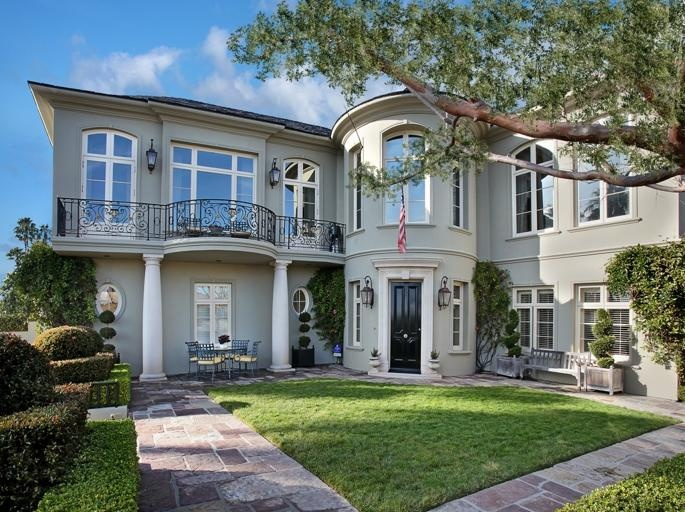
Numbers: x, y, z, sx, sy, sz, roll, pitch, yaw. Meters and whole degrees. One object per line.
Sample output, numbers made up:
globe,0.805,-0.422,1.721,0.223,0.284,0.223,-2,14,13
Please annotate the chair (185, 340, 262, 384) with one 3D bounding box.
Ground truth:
chair,-3.502,2.931,16.496,2.047,1.122,2.446,0,2,-15

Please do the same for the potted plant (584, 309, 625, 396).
potted plant,6.621,2.374,14.364,0.633,2.071,0.919,-1,2,-35

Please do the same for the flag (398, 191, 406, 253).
flag,1.712,-1.022,16.425,0.261,1.815,0.734,0,2,6

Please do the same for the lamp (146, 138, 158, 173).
lamp,-5.602,-2.968,16.408,0.302,1.008,0.635,0,2,-19

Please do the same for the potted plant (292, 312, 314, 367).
potted plant,-1.279,2.640,18.162,0.721,1.689,0.827,0,2,-4

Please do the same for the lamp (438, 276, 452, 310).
lamp,2.960,1.054,16.368,0.359,0.960,0.567,1,2,26

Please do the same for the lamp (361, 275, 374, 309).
lamp,0.753,1.061,16.926,0.375,0.948,0.452,1,2,13

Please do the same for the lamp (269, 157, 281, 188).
lamp,-2.211,-2.734,18.165,0.376,0.967,0.830,0,2,-8

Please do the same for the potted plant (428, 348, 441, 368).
potted plant,2.610,2.903,15.926,0.379,0.635,0.414,0,-2,-6

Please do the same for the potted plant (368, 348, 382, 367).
potted plant,0.938,2.949,16.481,0.311,0.536,0.319,2,2,40

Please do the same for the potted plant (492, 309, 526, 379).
potted plant,4.907,2.499,16.413,0.811,1.933,1.091,1,2,13
